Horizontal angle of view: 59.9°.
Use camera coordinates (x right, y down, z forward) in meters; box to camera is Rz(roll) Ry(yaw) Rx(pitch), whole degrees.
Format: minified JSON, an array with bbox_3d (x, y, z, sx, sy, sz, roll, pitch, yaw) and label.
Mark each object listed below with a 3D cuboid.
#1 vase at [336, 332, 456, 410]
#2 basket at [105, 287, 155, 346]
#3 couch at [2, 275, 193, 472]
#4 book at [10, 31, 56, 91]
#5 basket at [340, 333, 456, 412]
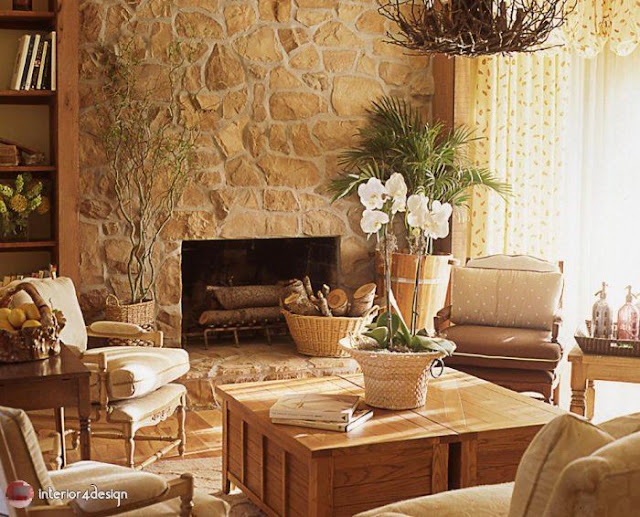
[{"bbox_3d":[0.300,0.465,2.304,0.342,0.156,0.332,0,0,-2],"label":"vase"},{"bbox_3d":[-1.368,0.315,4.026,0.282,0.302,0.298,-18,50,-25],"label":"basket"},{"bbox_3d":[-1.188,0.568,3.346,1.147,1.186,0.947,1,1,18],"label":"couch"},{"bbox_3d":[-1.886,-1.287,3.657,0.280,0.409,0.456,9,6,-26],"label":"book"},{"bbox_3d":[0.329,0.501,2.388,0.430,0.209,0.456,-3,-5,40],"label":"basket"}]
